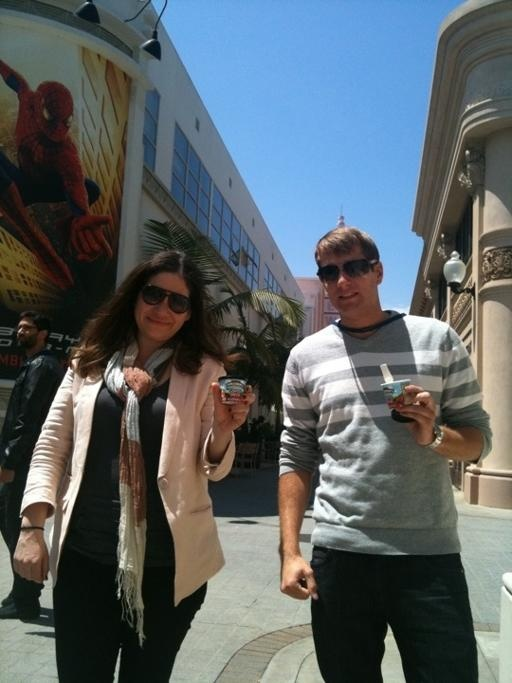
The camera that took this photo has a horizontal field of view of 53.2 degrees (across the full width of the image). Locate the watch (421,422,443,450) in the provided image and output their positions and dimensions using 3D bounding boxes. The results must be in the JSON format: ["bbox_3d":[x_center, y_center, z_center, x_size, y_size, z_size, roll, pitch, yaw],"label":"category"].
[{"bbox_3d":[0.550,0.295,1.585,0.019,0.067,0.071,-1,21,30],"label":"watch"}]
